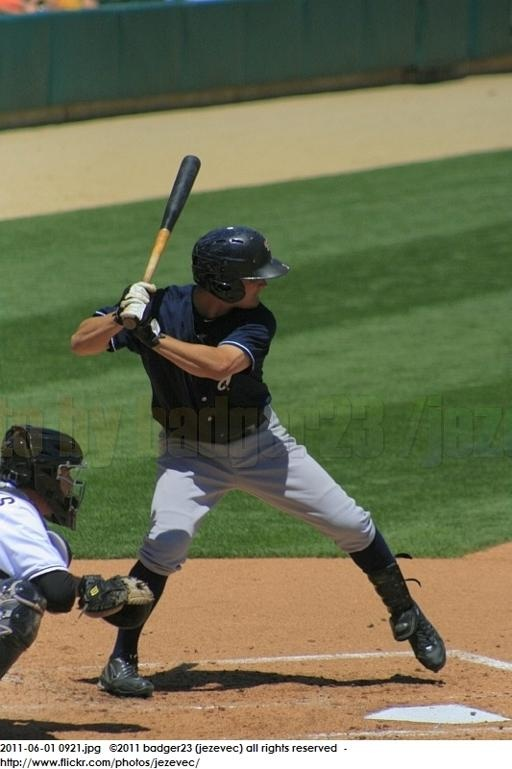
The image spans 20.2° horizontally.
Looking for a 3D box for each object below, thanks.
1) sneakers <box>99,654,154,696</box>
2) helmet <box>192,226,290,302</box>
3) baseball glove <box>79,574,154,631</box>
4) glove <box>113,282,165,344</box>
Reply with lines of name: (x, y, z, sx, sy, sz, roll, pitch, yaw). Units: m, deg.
sneakers: (-0.592, 1.311, 6.416, 0.298, 0.130, 0.118, 6, 4, 34)
helmet: (-0.042, -0.542, 6.377, 0.446, 0.304, 0.314, 1, 18, 4)
baseball glove: (-0.597, 0.847, 5.702, 0.180, 0.099, 0.223, 1, 28, 12)
glove: (-0.501, -0.303, 6.088, 0.189, 0.301, 0.187, 7, -8, -29)
